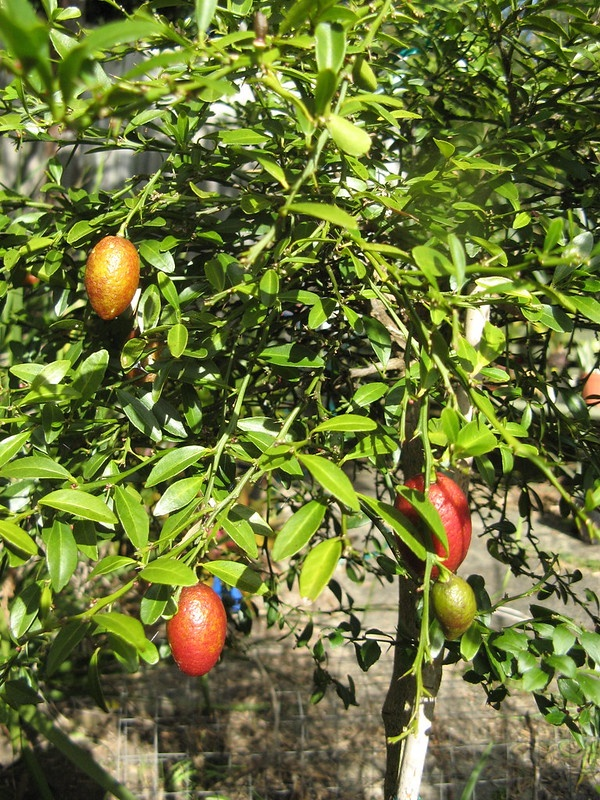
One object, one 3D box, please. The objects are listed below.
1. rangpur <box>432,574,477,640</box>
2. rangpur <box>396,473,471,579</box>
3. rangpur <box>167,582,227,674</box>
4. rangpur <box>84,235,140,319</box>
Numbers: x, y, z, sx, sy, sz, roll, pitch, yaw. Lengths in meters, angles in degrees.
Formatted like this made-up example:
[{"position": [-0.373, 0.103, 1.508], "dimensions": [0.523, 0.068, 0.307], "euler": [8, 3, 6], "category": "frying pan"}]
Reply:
[{"position": [0.180, 0.229, 0.792], "dimensions": [0.058, 0.072, 0.062], "euler": [-8, 4, 19], "category": "rangpur"}, {"position": [0.167, 0.145, 0.794], "dimensions": [0.100, 0.124, 0.096], "euler": [2, 61, 10], "category": "rangpur"}, {"position": [-0.111, 0.261, 0.783], "dimensions": [0.068, 0.099, 0.070], "euler": [-16, -21, 36], "category": "rangpur"}, {"position": [-0.243, -0.160, 0.944], "dimensions": [0.082, 0.105, 0.071], "euler": [11, 0, 9], "category": "rangpur"}]
